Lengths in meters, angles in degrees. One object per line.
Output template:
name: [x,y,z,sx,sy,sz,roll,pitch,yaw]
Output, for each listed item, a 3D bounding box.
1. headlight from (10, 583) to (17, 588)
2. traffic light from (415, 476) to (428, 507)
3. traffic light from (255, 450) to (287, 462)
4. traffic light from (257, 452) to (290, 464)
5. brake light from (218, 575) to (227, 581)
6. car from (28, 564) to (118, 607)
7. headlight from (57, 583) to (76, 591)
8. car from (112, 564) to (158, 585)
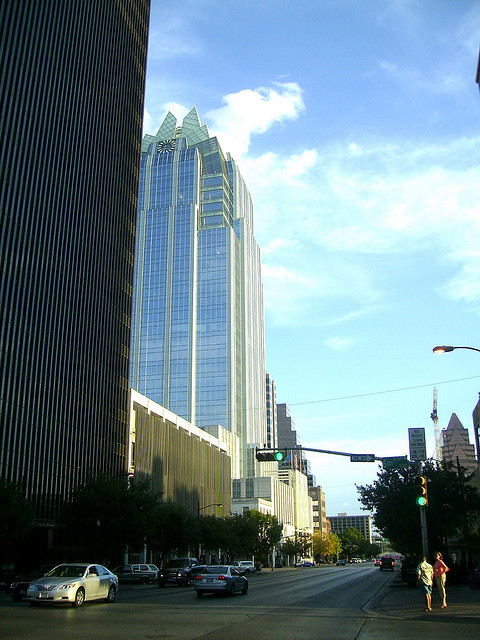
headlight: [-9.116,10.753,24.347,0.219,0.213,0.229,-4,-21,6]
traffic light: [6.817,6.458,22.760,0.384,1.135,2.227,-6,-18,15]
traffic light: [1.329,5.697,25.088,1.208,0.390,1.155,-2,-18,1]
traffic light: [1.336,5.760,25.235,1.206,0.396,1.169,-2,-18,0]
brake light: [-0.735,10.946,25.514,0.449,0.240,0.155,14,-23,-42]
car: [-5.536,9.135,20.736,1.486,1.411,5.294,-4,-18,7]
headlight: [-5.313,8.228,18.562,0.112,0.171,0.628,-11,-20,28]
car: [-7.908,19.410,46.114,2.892,1.147,1.690,1,-22,8]
